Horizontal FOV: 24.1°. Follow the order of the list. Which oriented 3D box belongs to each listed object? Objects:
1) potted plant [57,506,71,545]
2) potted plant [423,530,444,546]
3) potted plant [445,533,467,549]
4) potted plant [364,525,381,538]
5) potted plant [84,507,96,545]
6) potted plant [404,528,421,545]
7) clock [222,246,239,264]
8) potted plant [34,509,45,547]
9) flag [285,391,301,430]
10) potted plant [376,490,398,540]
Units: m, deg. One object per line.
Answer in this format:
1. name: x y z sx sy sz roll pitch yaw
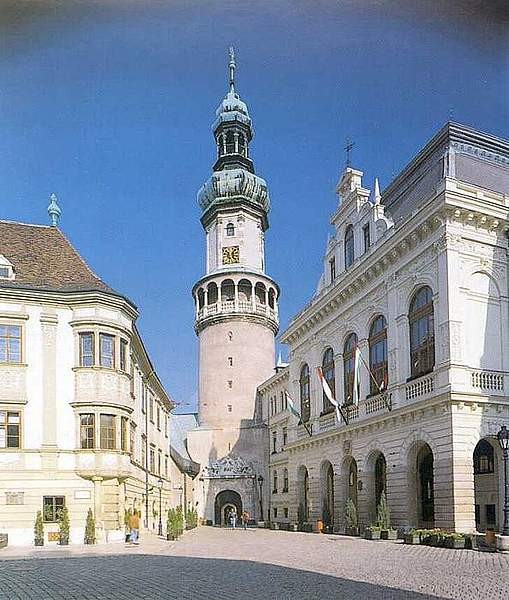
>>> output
1. potted plant: -7.432 8.961 47.147 0.460 1.579 0.841 3 -18 -9
2. potted plant: 6.262 8.395 41.751 0.455 0.560 0.802 -1 -7 6
3. potted plant: 6.825 8.263 40.569 0.724 0.552 0.592 -5 -19 12
4. potted plant: 4.706 9.232 47.026 0.658 0.645 0.443 11 -17 -42
5. potted plant: -6.445 9.014 47.253 0.403 1.450 0.789 2 -18 -9
6. potted plant: 5.673 8.628 42.926 0.425 0.515 0.744 1 -5 -15
7. clock: -1.651 -3.314 86.772 1.271 1.294 0.146 -5 -26 10
8. potted plant: -8.339 8.977 46.617 0.366 1.327 0.344 1 -18 -4
9. flag: 2.153 5.995 64.927 1.008 0.331 3.958 39 -12 23
10. potted plant: 5.222 8.596 47.034 0.797 2.070 2.579 -2 -18 6
